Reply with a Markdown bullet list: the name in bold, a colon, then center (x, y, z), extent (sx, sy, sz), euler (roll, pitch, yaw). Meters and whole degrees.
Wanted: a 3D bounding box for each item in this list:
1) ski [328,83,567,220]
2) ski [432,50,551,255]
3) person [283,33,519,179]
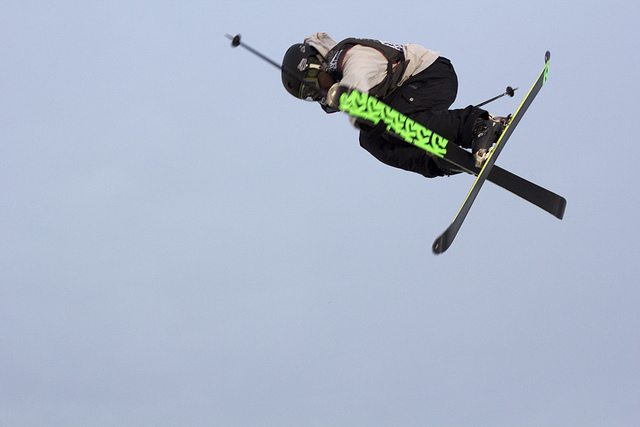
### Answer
- **ski**: center (1.153, -0.754, 8.774), extent (2.209, 0.262, 0.256), euler (31, -86, 6)
- **ski**: center (1.416, -0.585, 8.384), extent (0.152, 2.281, 0.230), euler (29, -17, 25)
- **person**: center (0.761, -0.893, 9.409), extent (2.254, 1.337, 1.233), euler (6, -71, -1)
